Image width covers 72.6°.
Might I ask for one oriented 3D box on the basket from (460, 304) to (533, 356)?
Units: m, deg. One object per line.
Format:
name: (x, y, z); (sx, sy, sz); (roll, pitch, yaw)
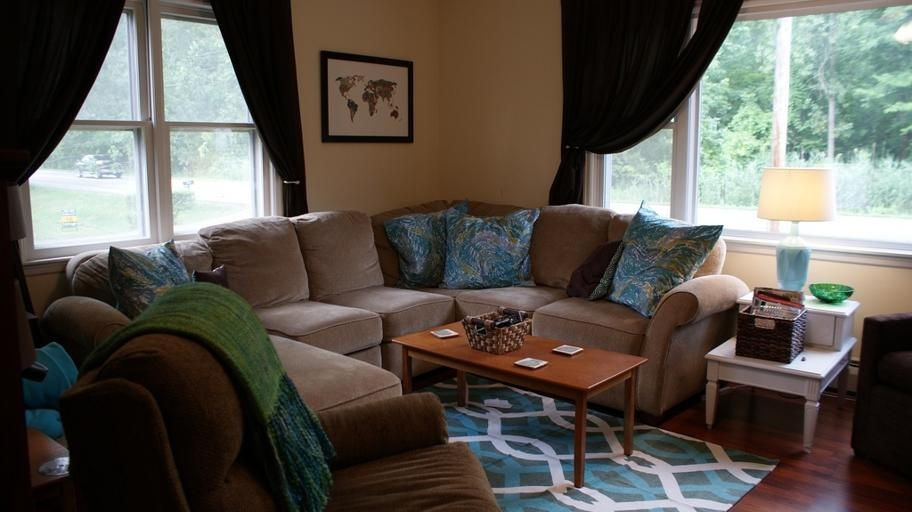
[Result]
basket: (0.275, 0.533, 4.489); (0.340, 0.212, 0.485); (1, 3, 33)

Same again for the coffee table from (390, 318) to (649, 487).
coffee table: (0.455, 0.758, 4.311); (2.029, 0.836, 1.061); (6, 11, 39)

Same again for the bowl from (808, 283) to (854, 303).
bowl: (2.951, 0.279, 4.884); (0.211, 0.079, 0.210); (-1, 4, 0)

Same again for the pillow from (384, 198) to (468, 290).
pillow: (-0.298, -0.098, 5.805); (0.844, 0.690, 0.231); (-2, -15, -12)

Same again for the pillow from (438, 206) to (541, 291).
pillow: (0.317, -0.044, 5.780); (0.844, 0.660, 0.316); (0, -19, 3)

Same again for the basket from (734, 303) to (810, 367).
basket: (2.337, 0.579, 4.637); (0.479, 0.320, 0.478); (3, 2, 34)

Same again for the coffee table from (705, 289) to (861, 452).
coffee table: (2.551, 0.840, 5.032); (0.981, 0.949, 1.360); (4, 6, 43)

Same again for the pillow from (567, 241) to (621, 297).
pillow: (1.215, 0.117, 5.368); (0.171, 0.478, 0.452); (30, 0, -18)

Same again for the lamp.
lamp: (2.646, -0.219, 4.873); (0.411, 0.944, 0.442); (-9, 15, -35)

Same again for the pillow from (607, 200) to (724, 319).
pillow: (1.626, 0.027, 4.980); (0.275, 0.820, 0.863); (29, 3, -32)
